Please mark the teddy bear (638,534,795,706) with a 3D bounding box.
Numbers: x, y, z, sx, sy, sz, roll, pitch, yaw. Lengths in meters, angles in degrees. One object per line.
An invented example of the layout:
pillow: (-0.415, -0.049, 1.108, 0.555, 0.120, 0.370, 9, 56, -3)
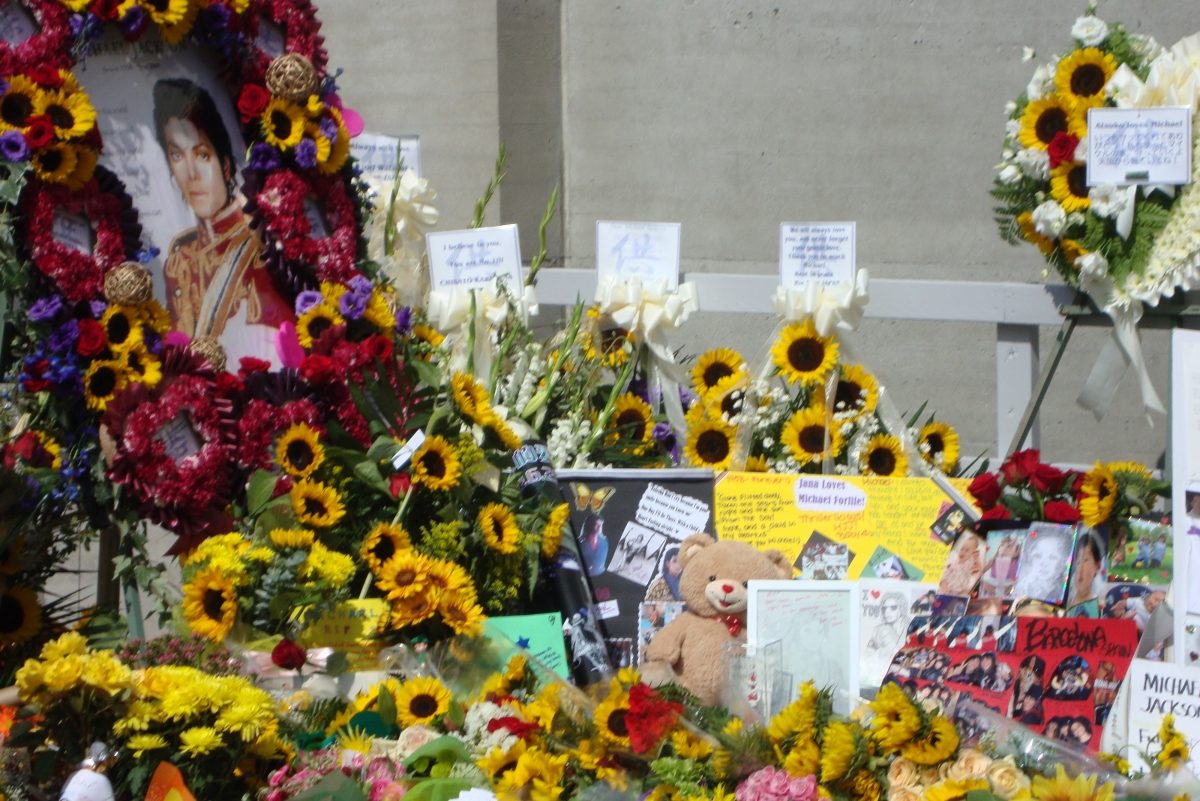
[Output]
teddy bear: (0.350, 0.638, 6.092, 0.332, 0.447, 0.366, 5, 6, 41)
